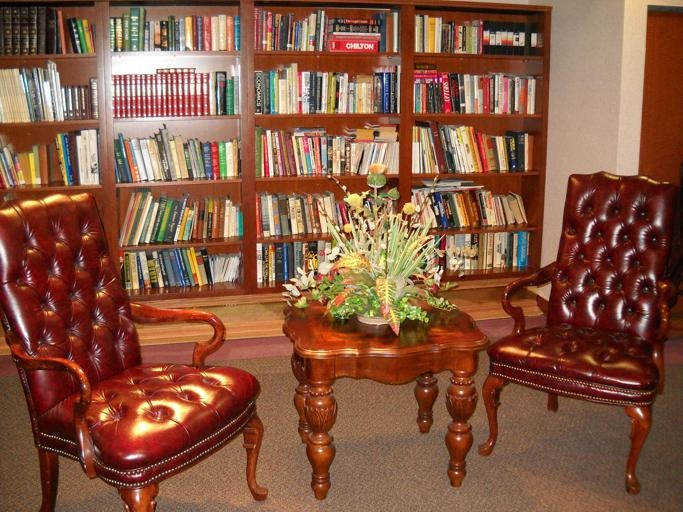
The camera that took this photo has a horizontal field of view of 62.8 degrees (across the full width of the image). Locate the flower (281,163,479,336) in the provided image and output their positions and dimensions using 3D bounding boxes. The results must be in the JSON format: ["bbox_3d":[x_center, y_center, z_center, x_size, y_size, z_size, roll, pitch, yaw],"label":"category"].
[{"bbox_3d":[0.119,-0.045,2.733,0.816,0.635,0.708,2,10,19],"label":"flower"}]
